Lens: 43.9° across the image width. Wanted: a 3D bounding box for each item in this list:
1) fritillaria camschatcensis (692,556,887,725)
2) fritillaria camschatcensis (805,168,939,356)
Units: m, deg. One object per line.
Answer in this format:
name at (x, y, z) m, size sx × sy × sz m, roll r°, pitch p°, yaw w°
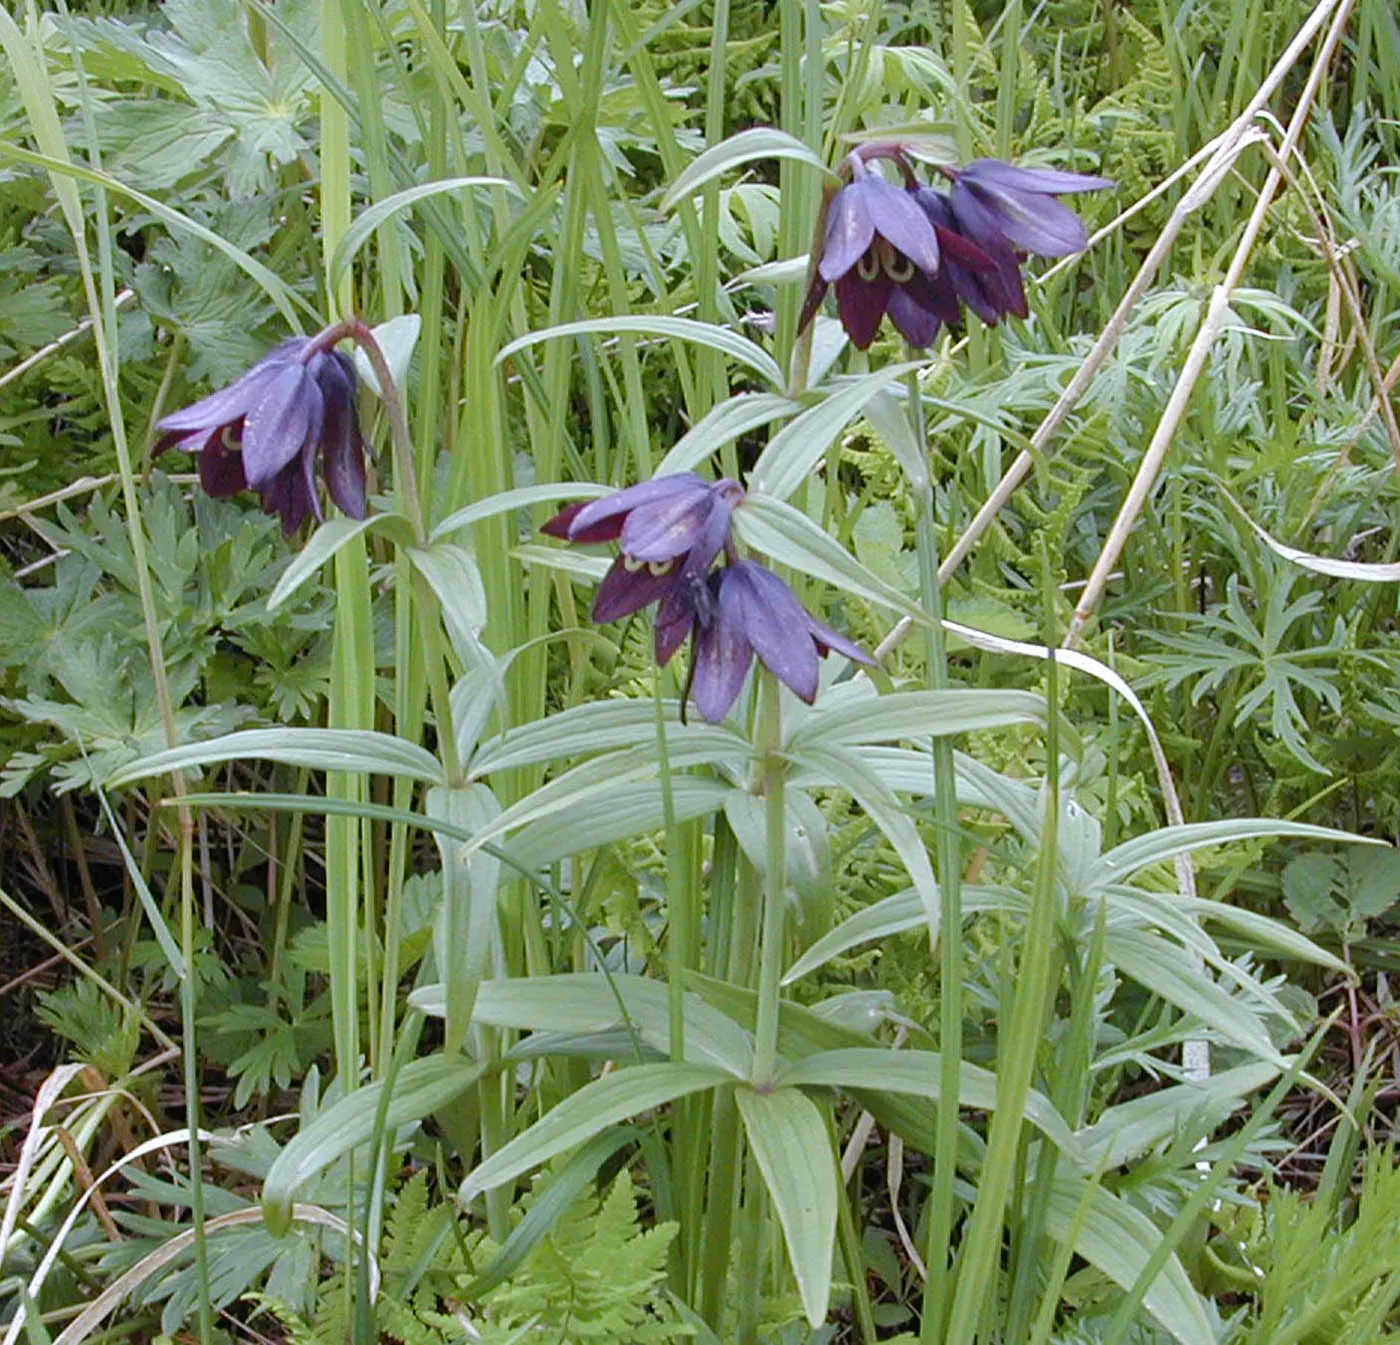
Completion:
fritillaria camschatcensis at (0.053, -0.041, 1.397) m, size 0.108 × 0.071 × 0.128 m, roll -12°, pitch 25°, yaw -8°
fritillaria camschatcensis at (0.152, -0.370, 1.566) m, size 0.082 × 0.104 × 0.184 m, roll 4°, pitch 30°, yaw -4°
